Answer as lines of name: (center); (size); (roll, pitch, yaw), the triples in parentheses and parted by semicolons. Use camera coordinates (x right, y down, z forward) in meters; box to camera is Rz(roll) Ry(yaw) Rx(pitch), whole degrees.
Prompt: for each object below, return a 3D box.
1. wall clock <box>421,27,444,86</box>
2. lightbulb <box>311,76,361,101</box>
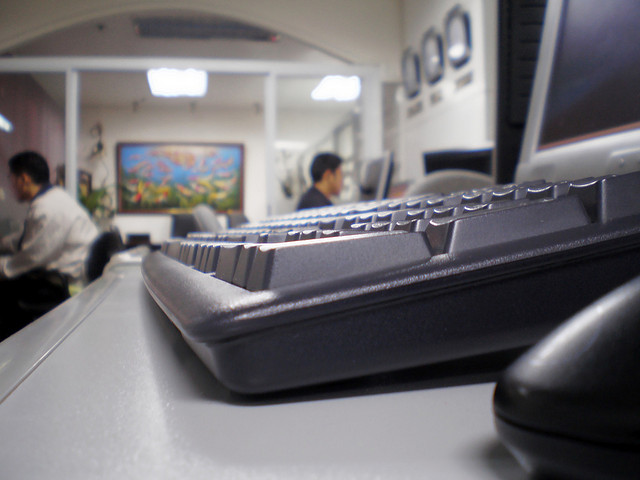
wall clock: (0.180, -0.295, 0.791); (0.006, 0.072, 0.051); (-12, 16, -16)
lightbulb: (0.058, -0.789, 2.668); (0.150, 0.126, 0.467); (-4, 5, -20)
